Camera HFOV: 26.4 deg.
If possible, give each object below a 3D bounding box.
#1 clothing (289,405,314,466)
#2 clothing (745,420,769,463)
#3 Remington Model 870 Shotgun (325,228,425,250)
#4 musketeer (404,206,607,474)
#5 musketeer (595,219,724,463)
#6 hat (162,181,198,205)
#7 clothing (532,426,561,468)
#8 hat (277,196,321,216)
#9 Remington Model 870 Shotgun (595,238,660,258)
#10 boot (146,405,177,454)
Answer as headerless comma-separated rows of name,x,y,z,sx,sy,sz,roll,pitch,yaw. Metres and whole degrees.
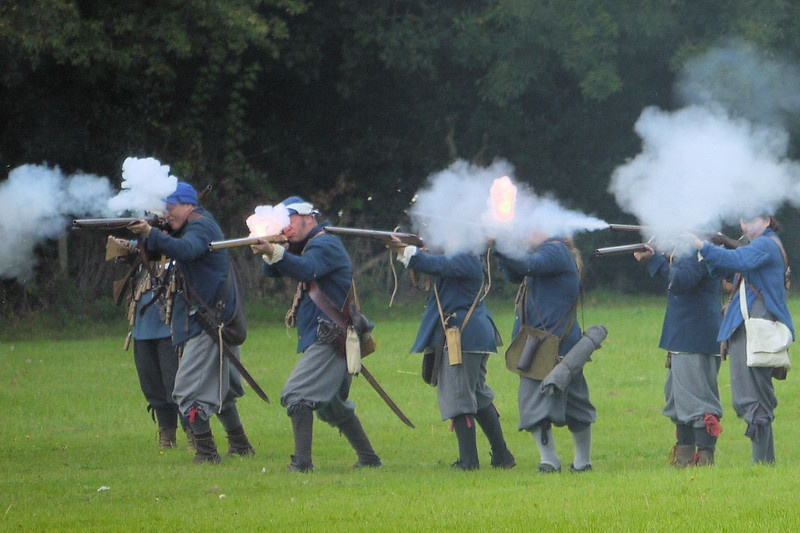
clothing,-1.845,3.149,31.388,0.418,1.233,0.397,-1,14,-6
clothing,6.560,3.236,31.219,0.516,0.759,0.425,2,14,10
Remington Model 870 Shotgun,-0.514,-0.547,31.504,1.727,0.379,0.640,4,14,17
musketeer,1.927,1.529,32.429,3.877,5.127,6.311,1,-1,-1
musketeer,5.680,1.379,32.723,2.638,4.611,2.193,0,-2,-2
hat,-4.165,-1.341,32.176,0.505,0.418,0.381,-23,4,-18
clothing,2.681,3.383,31.465,0.531,0.814,0.482,5,14,19
hat,-1.895,-1.116,31.885,0.526,0.244,0.392,17,-3,-14
Remington Model 870 Shotgun,4.265,-0.327,31.572,1.793,0.257,0.347,-3,-12,-21
boot,-4.521,3.138,32.786,0.828,1.064,0.640,1,-3,2
